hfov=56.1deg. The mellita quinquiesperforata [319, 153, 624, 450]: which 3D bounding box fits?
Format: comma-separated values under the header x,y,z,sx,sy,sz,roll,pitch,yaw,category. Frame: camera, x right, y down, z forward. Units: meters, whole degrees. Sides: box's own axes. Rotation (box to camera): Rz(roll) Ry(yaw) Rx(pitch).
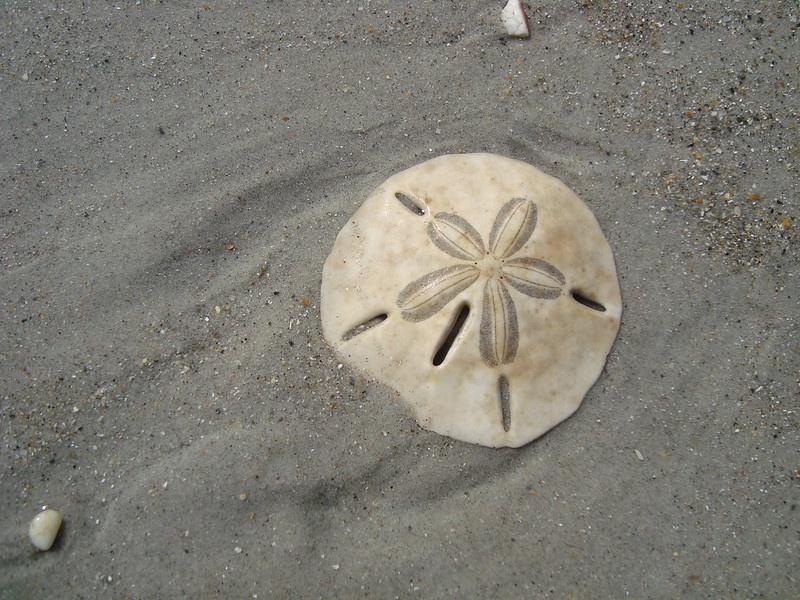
x,y,z,sx,sy,sz,roll,pitch,yaw,category
0.732,0.032,7.507,2.867,0.565,2.570,12,85,6,mellita quinquiesperforata
